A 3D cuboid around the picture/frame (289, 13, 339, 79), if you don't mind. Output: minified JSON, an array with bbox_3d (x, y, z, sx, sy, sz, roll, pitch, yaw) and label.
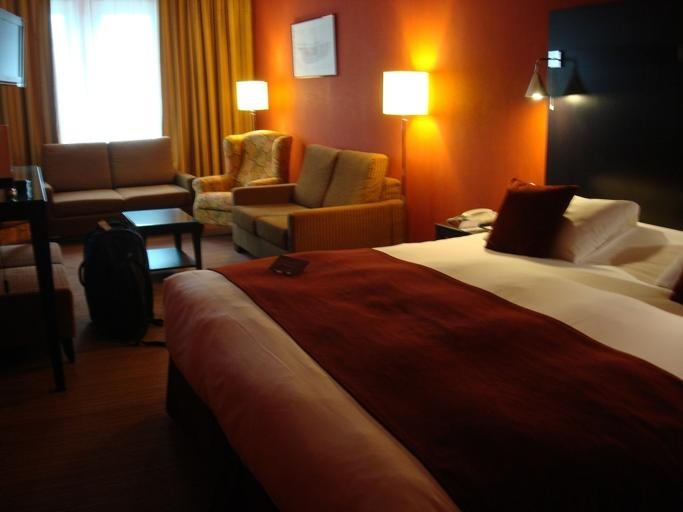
[{"bbox_3d":[-0.285,-2.376,5.929,0.114,0.645,0.870,-9,17,-29],"label":"picture/frame"}]

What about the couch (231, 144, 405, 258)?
[{"bbox_3d":[-0.306,-0.469,5.192,1.153,1.139,1.627,-7,16,-32],"label":"couch"}]

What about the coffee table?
[{"bbox_3d":[-1.561,-0.200,4.717,0.563,0.429,0.865,-6,21,-29],"label":"coffee table"}]

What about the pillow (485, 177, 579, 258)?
[{"bbox_3d":[1.052,-0.207,2.970,0.184,0.447,0.427,19,0,-45],"label":"pillow"}]

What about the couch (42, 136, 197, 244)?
[{"bbox_3d":[-2.673,-0.835,6.337,1.648,1.152,0.875,-8,16,-32],"label":"couch"}]

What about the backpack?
[{"bbox_3d":[-1.452,0.191,3.454,0.398,0.715,0.235,-10,19,-27],"label":"backpack"}]
